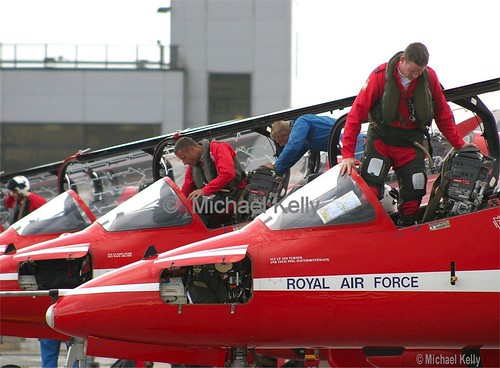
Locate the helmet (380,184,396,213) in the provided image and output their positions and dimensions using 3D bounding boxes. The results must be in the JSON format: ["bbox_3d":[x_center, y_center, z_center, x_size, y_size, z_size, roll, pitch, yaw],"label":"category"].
[{"bbox_3d":[1.652,0.161,10.163,0.258,0.305,0.311,-3,10,-10],"label":"helmet"}]

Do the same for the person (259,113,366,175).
[{"bbox_3d":[0.971,-0.552,12.166,1.667,0.875,0.715,-7,-1,-7],"label":"person"}]

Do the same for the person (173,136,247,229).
[{"bbox_3d":[-0.522,0.001,11.540,0.779,0.498,1.094,-8,36,-18],"label":"person"}]
